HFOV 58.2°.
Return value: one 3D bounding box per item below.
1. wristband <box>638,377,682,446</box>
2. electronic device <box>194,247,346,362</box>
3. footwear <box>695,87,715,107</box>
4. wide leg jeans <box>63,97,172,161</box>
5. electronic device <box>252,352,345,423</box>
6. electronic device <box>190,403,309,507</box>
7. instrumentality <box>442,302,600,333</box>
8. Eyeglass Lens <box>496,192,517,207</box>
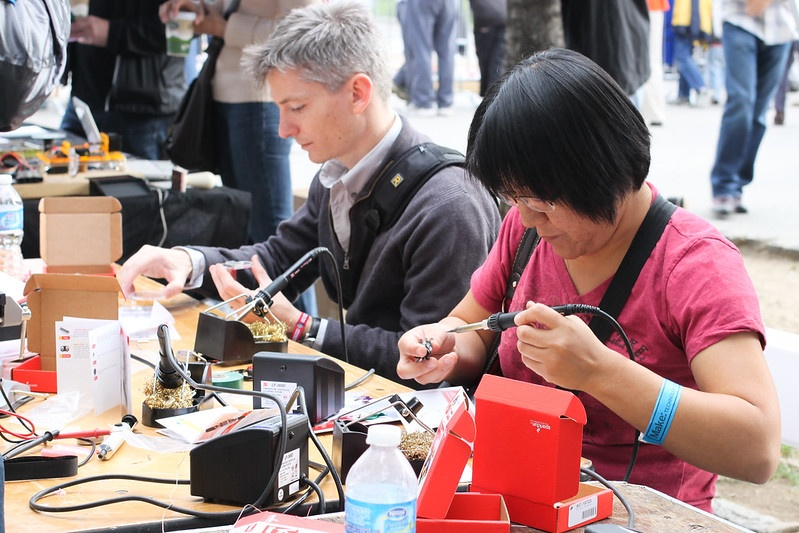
[{"bbox_3d":[0.646,0.358,1.810,0.046,0.141,0.122,17,32,0],"label":"wristband"},{"bbox_3d":[-0.445,0.118,2.555,0.501,0.348,0.277,-6,4,-25],"label":"electronic device"},{"bbox_3d":[3.654,-2.020,8.687,0.192,0.185,0.181,-8,13,-11],"label":"footwear"},{"bbox_3d":[-2.137,-0.980,5.542,0.644,0.596,0.875,0,7,4],"label":"wide leg jeans"},{"bbox_3d":[-0.304,0.337,2.130,0.232,0.192,0.172,3,2,29],"label":"electronic device"},{"bbox_3d":[-0.380,0.489,1.859,0.304,0.190,0.309,3,-3,-24],"label":"electronic device"},{"bbox_3d":[0.354,0.143,2.056,0.335,0.049,0.060,-12,36,35],"label":"instrumentality"},{"bbox_3d":[0.293,-0.187,1.969,0.028,0.031,0.035,26,43,4],"label":"Eyeglass Lens"}]
